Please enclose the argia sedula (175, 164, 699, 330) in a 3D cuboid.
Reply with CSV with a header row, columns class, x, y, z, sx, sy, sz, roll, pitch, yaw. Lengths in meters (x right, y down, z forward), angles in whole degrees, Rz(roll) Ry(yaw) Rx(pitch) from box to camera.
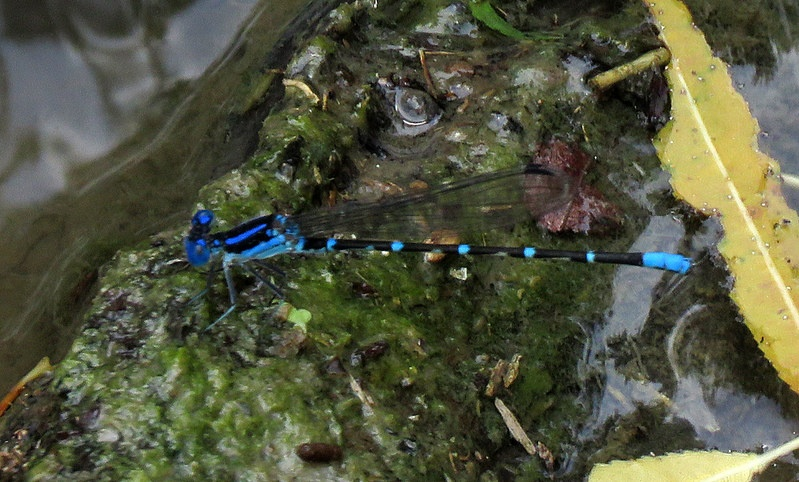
class,x,y,z,sx,sy,sz,roll,pitch,yaw
argia sedula,0.120,-0.106,7.299,3.836,0.574,0.893,-3,50,-8
